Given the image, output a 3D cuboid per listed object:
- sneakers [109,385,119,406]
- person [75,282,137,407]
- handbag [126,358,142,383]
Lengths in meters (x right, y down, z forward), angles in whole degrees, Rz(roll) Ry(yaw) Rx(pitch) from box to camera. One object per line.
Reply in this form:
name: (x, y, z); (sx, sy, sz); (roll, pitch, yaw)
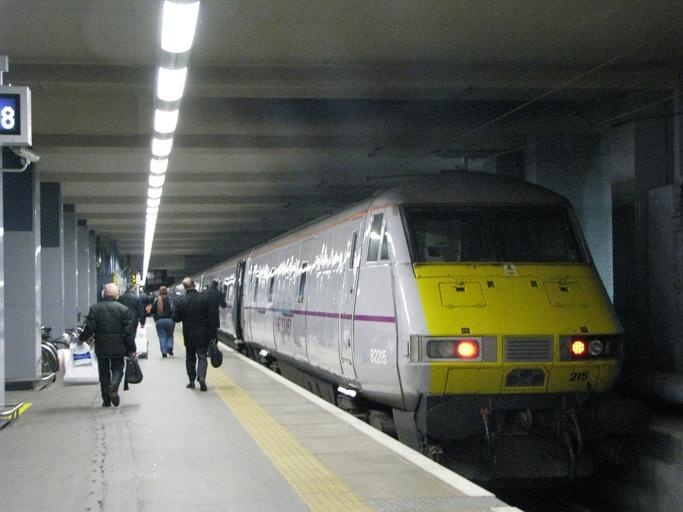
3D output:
sneakers: (-3.600, 2.212, 8.529); (0.108, 0.330, 0.244); (1, -5, -26)
person: (-3.775, 1.439, 8.664); (0.784, 2.001, 0.813); (1, -5, -24)
handbag: (-3.428, 1.876, 8.846); (0.239, 0.498, 0.757); (1, -5, -21)
